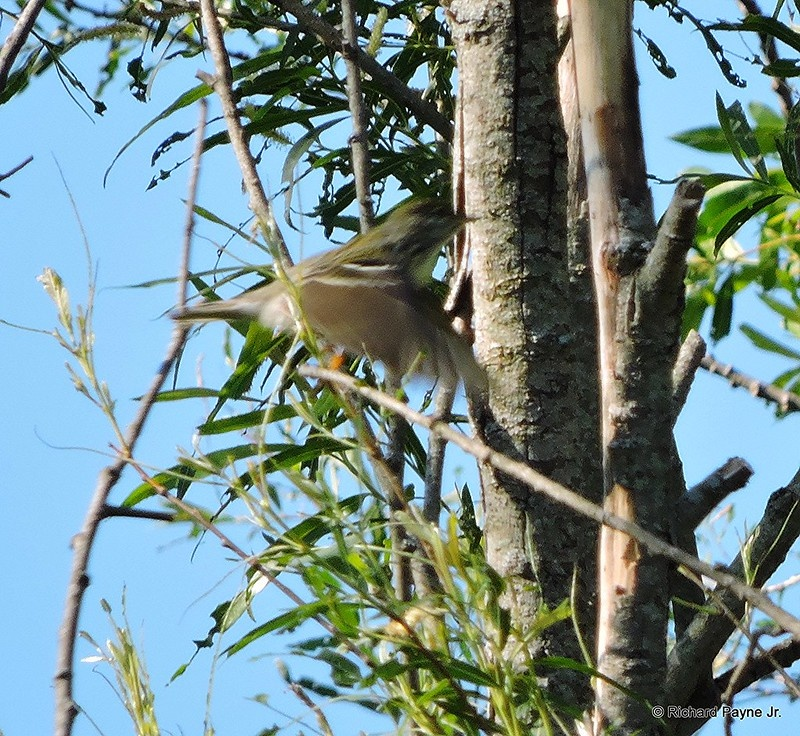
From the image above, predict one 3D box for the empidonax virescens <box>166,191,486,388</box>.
[{"bbox_3d":[-0.058,-0.067,1.626,0.249,0.224,0.177,4,-83,-20],"label":"empidonax virescens"}]
